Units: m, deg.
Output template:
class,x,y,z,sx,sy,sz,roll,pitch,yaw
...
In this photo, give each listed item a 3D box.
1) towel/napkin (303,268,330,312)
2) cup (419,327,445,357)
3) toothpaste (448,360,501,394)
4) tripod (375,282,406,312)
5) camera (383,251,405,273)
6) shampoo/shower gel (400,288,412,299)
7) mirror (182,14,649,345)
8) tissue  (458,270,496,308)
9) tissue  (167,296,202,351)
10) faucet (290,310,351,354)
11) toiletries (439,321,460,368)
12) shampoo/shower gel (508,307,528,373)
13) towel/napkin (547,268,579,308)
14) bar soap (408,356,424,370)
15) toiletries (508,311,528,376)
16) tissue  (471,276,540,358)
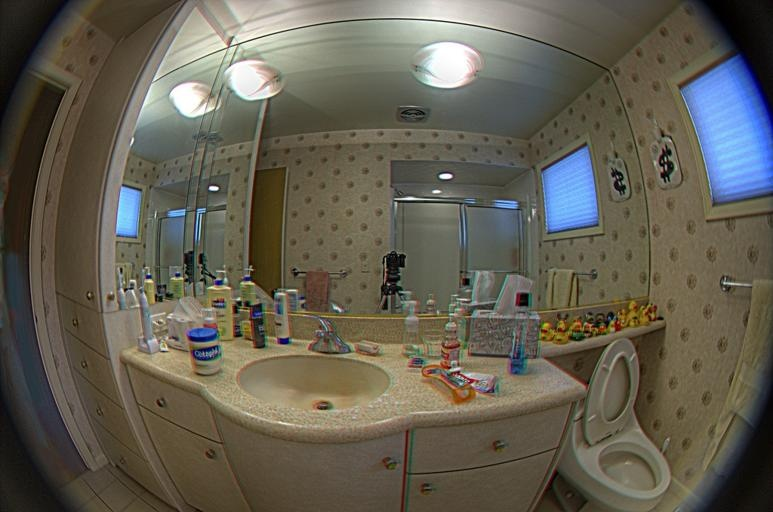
class,x,y,z,sx,sy,sz,roll,pitch,yaw
towel/napkin,-0.337,0.185,2.067,0.122,0.228,0.023,5,-27,-16
cup,0.197,0.395,1.924,0.108,0.118,0.111,0,-3,0
toothpaste,0.355,0.473,1.709,0.159,0.049,0.125,11,1,34
tripod,0.025,0.199,2.127,0.131,0.174,0.130,0,5,-18
camera,0.036,0.027,1.953,0.099,0.099,0.093,1,3,1
shampoo/shower gel,0.094,0.184,2.035,0.058,0.057,0.034,-1,3,5
mirror,0.038,-0.402,2.008,1.539,1.126,0.019,-1,3,-5
tissue ,0.444,0.150,2.168,0.169,0.317,0.183,1,3,2
tissue ,-0.965,0.327,2.077,0.189,0.236,0.193,5,5,2
faucet,-0.293,0.362,2.005,0.299,0.182,0.129,0,3,5
toiletries,0.275,0.382,1.812,0.082,0.199,0.198,-1,0,9
shampoo/shower gel,0.594,0.393,1.857,0.089,0.281,0.084,-2,-16,31
towel/napkin,0.885,0.153,2.139,0.192,0.294,0.054,-2,6,-18
bar soap,0.132,0.474,1.861,0.048,0.014,0.053,2,33,14
toiletries,0.581,0.380,1.849,0.062,0.276,0.118,-1,0,35
tissue ,0.553,0.242,1.973,0.347,0.397,0.276,-4,21,13
